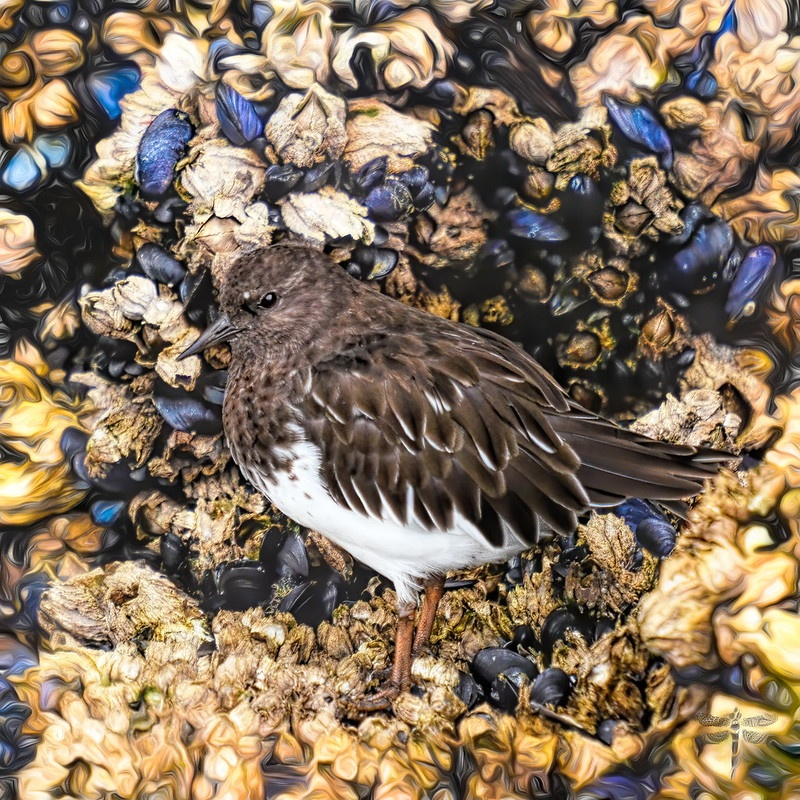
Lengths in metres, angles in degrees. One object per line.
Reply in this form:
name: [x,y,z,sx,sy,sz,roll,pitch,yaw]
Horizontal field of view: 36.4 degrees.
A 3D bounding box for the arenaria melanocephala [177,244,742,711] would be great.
arenaria melanocephala: [0.444,0.014,2.970,1.628,0.635,1.013,2,94,9]
